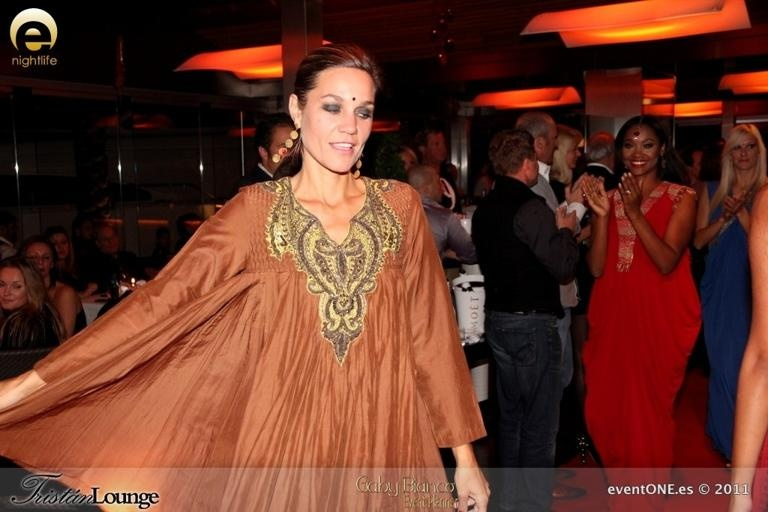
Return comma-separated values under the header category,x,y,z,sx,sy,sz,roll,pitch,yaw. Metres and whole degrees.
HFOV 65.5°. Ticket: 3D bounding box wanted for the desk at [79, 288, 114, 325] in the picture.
category,x,y,z,sx,sy,sz,roll,pitch,yaw
desk,-2.280,0.393,4.687,0.202,0.248,0.348,-1,-1,-33
